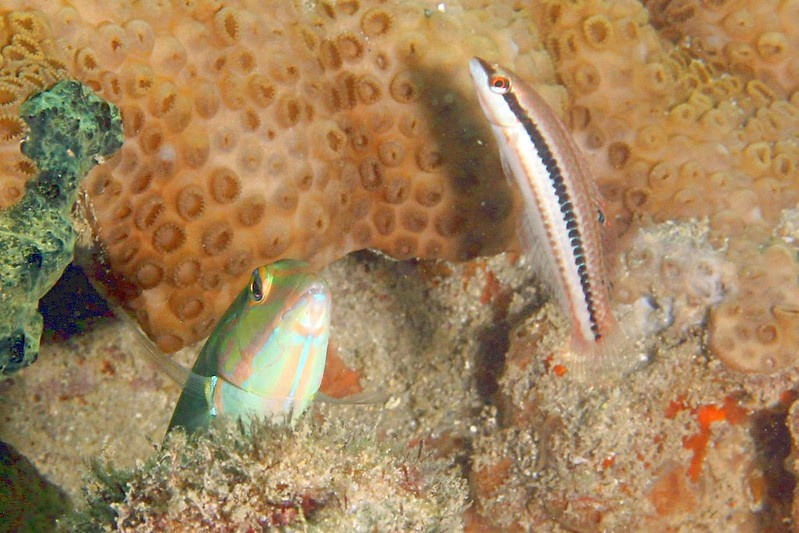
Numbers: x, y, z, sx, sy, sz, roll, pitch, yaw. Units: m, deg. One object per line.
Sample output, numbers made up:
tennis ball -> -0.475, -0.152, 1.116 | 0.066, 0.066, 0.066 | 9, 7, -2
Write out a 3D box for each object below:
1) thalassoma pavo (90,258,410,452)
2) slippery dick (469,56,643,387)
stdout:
thalassoma pavo -> -0.873, 0.579, 5.809 | 0.782, 1.311, 0.562 | 14, 38, -32
slippery dick -> 1.091, -0.340, 6.723 | 0.885, 0.777, 2.757 | -16, 93, 27
